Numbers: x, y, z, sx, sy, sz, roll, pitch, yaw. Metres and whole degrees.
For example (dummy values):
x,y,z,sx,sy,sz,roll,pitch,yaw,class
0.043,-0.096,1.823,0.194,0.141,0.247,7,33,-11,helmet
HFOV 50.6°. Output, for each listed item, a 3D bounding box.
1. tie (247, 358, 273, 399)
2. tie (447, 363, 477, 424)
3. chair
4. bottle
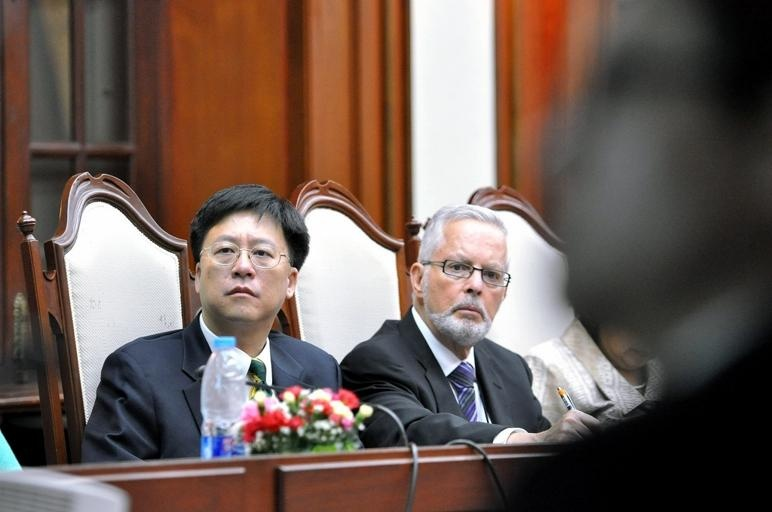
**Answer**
x,y,z,sx,sy,sz,roll,pitch,yaw,class
-0.279,0.258,1.722,0.037,0.027,0.093,-28,19,14,tie
0.197,0.338,2.046,0.041,0.049,0.165,-23,36,4,tie
-0.217,0.157,1.842,0.815,0.655,0.322,3,-13,-37,chair
-0.247,0.214,1.242,0.073,0.177,0.149,-4,-3,-11,bottle
